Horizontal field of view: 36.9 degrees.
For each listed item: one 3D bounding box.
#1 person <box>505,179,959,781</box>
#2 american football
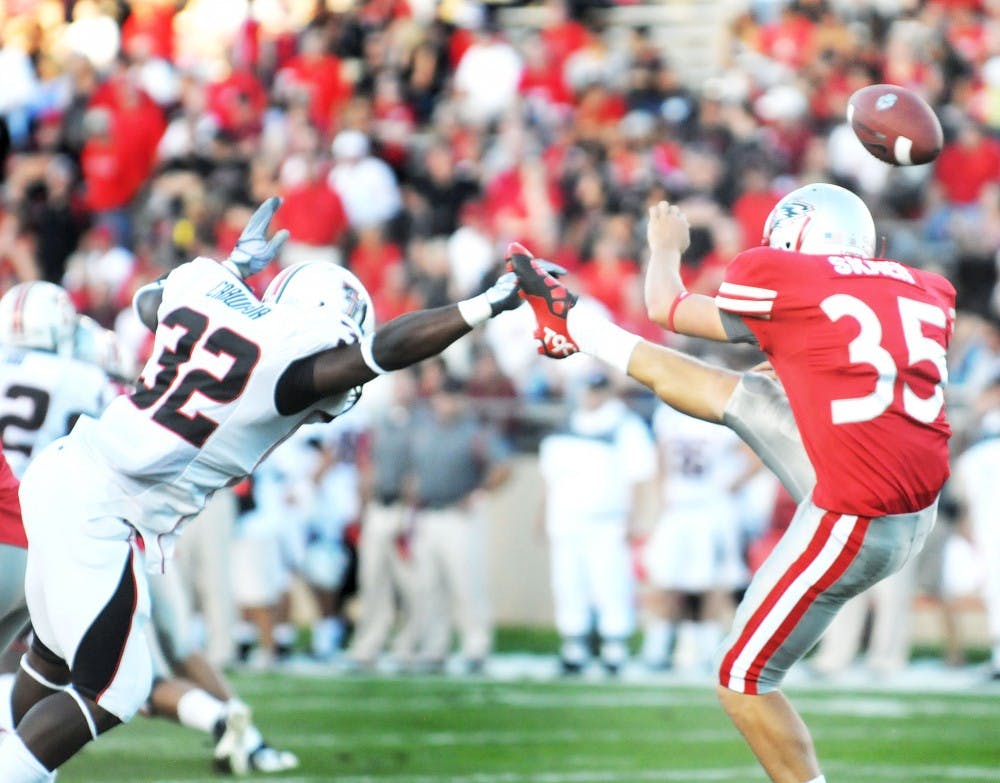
[{"bbox_3d":[1.049,0.343,5.975,1.365,2.145,0.708,-4,1,40],"label":"person"},{"bbox_3d":[1.636,-1.115,6.227,0.261,0.251,0.405,-11,50,-47],"label":"american football"}]
